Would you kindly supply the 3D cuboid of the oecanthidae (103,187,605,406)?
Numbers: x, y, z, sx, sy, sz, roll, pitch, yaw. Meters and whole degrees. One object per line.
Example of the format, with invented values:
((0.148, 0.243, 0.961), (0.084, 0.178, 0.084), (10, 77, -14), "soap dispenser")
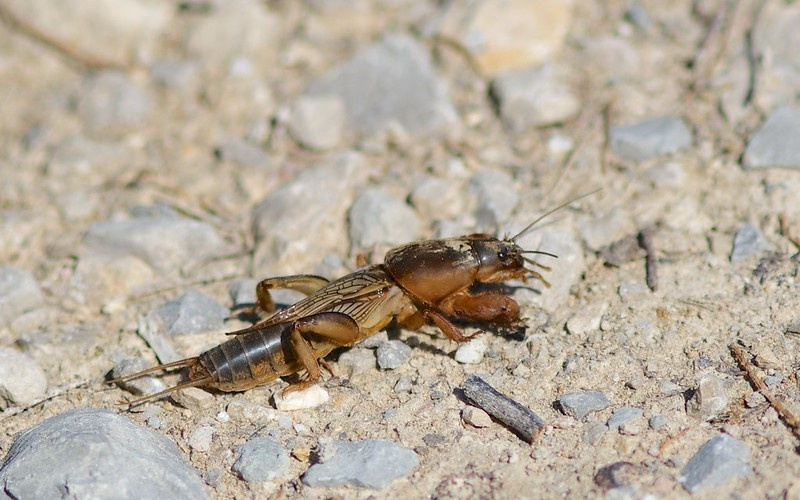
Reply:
((-0.274, 0.462, 5.787), (3.144, 0.737, 1.236), (-19, 39, -11), "oecanthidae")
